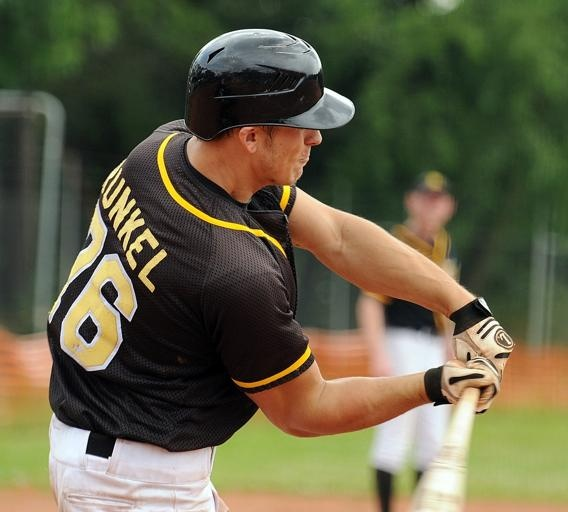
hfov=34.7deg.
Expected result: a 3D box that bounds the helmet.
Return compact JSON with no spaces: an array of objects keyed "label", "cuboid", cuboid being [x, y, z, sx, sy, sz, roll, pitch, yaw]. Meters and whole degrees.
[{"label":"helmet","cuboid":[-0.038,-0.550,2.983,0.563,0.226,0.342,-2,17,-3]}]

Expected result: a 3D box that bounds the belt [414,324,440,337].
[{"label":"belt","cuboid":[0.802,0.426,5.163,0.079,0.067,0.025,-25,3,10]}]
